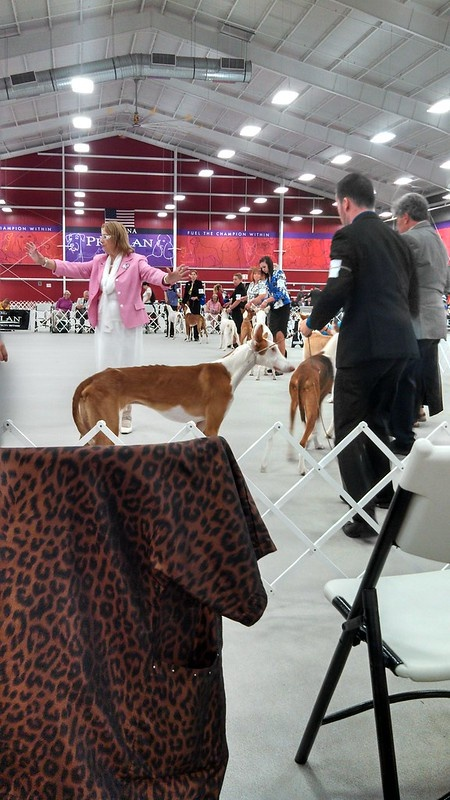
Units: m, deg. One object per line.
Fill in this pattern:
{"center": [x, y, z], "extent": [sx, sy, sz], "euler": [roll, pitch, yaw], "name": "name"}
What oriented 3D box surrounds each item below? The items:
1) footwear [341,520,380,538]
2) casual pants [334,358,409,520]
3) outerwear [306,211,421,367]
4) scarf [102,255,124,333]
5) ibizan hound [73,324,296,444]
{"center": [0.774, 0.740, 2.915], "extent": [0.195, 0.098, 0.070], "euler": [-2, 3, 18], "name": "footwear"}
{"center": [0.768, 0.151, 2.837], "extent": [0.264, 0.887, 0.233], "euler": [-14, 21, -37], "name": "casual pants"}
{"center": [0.782, -0.590, 2.682], "extent": [0.686, 0.837, 0.232], "euler": [-1, 1, -15], "name": "outerwear"}
{"center": [-0.826, -0.790, 3.747], "extent": [0.165, 0.541, 0.115], "euler": [-1, 1, -6], "name": "scarf"}
{"center": [-0.232, -0.151, 3.219], "extent": [1.382, 0.731, 0.410], "euler": [-2, 1, -36], "name": "ibizan hound"}
